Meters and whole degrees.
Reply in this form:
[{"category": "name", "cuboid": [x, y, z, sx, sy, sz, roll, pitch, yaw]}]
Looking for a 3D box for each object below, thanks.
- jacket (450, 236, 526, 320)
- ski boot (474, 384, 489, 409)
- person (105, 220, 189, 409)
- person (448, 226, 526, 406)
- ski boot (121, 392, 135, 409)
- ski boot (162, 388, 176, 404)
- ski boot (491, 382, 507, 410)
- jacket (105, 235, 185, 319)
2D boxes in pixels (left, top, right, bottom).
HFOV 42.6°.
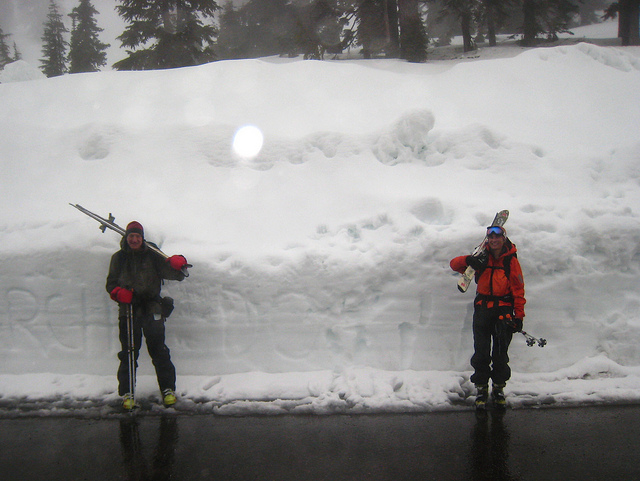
[{"category": "jacket", "cuboid": [3.342, 0.725, 15.992, 1.233, 1.555, 0.351, 1, 6, 12]}, {"category": "ski boot", "cuboid": [3.099, 2.992, 15.789, 0.265, 0.422, 0.313, 1, 6, 11]}, {"category": "person", "cuboid": [-3.427, 1.394, 15.922, 1.403, 3.466, 1.001, -2, 6, -15]}, {"category": "person", "cuboid": [3.328, 1.438, 15.920, 1.190, 3.391, 0.747, 1, 6, 10]}, {"category": "ski boot", "cuboid": [-3.694, 3.054, 15.609, 0.201, 0.254, 0.272, 4, -14, -7]}, {"category": "ski boot", "cuboid": [-2.919, 3.001, 15.759, 0.204, 0.231, 0.260, -6, 36, -19]}, {"category": "ski boot", "cuboid": [3.430, 2.986, 15.752, 0.285, 0.453, 0.235, 1, 6, 12]}, {"category": "jacket", "cuboid": [-3.525, 0.683, 16.109, 1.355, 1.563, 0.412, -2, 6, -15]}]
